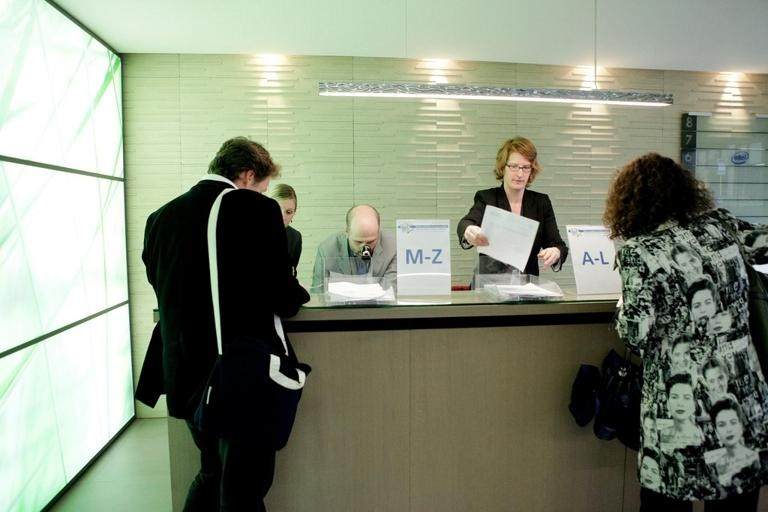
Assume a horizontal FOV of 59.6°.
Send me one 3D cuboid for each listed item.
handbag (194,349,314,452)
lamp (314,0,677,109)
[{"bbox_3d":[-0.728,0.766,3.847,0.580,0.555,0.560,26,-10,-40],"label":"handbag"},{"bbox_3d":[0.759,-1.598,5.344,2.605,0.840,1.410,-1,7,-9],"label":"lamp"}]
